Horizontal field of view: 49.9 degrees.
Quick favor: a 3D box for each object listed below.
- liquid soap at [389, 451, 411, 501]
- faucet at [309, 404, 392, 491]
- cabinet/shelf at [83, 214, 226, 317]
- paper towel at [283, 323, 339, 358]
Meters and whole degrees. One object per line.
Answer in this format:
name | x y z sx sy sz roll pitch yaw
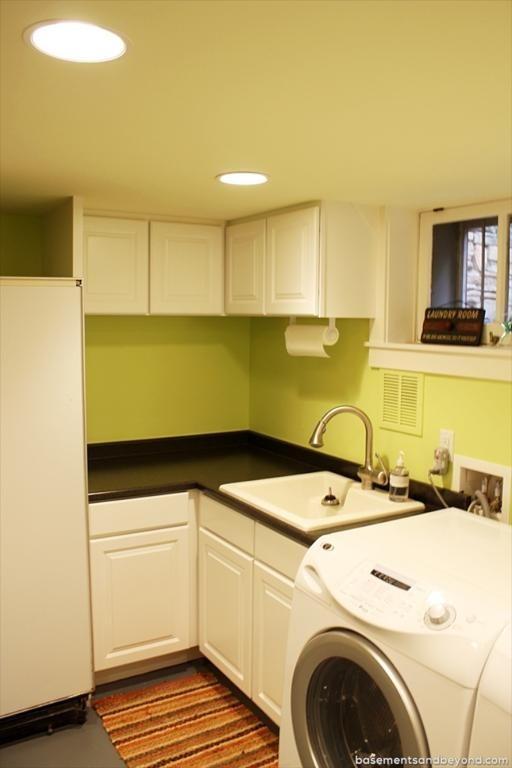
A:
liquid soap | 0.534 0.327 2.042 0.072 0.186 0.190 1 3 17
faucet | 0.317 0.236 2.265 0.327 0.454 0.254 -1 3 -21
cabinet/shelf | -0.482 -0.509 2.661 0.646 0.463 0.372 -1 -7 1
paper towel | 0.233 -0.193 2.302 0.112 0.144 0.291 -1 3 -24
